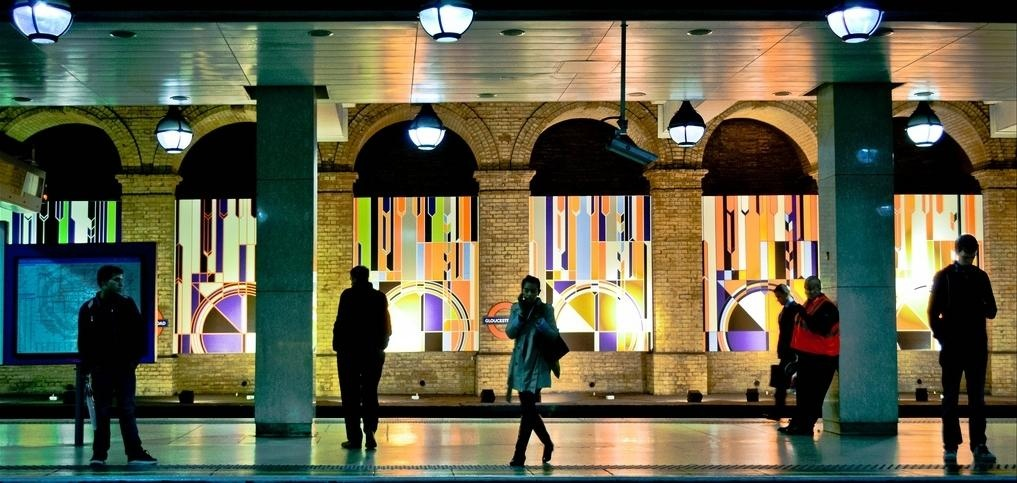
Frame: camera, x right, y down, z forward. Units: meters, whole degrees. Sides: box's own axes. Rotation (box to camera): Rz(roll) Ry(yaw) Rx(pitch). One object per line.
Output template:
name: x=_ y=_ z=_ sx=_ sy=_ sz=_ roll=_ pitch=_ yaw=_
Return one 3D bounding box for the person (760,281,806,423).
person: x=6.716 y=2.806 z=37.609 sx=1.481 sy=3.090 sz=1.001 roll=3 pitch=0 yaw=10
